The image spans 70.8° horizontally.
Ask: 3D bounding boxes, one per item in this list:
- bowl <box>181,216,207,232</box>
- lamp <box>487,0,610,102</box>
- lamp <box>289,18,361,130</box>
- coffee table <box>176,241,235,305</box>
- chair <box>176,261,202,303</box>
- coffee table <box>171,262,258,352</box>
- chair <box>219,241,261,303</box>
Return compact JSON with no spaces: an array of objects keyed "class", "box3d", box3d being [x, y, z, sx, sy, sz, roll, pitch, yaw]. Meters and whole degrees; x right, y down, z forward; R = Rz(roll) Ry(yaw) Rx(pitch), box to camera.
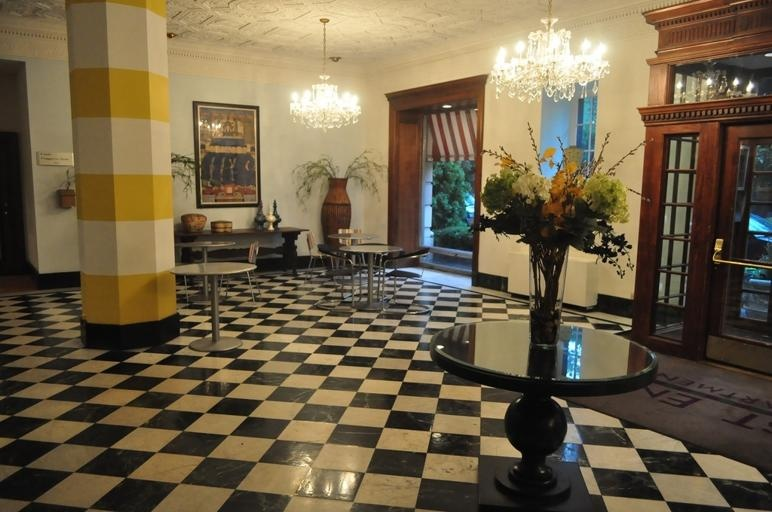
[{"class":"bowl","box3d":[-3.949,-0.684,11.028,0.378,0.266,0.377,0,-2,0]},{"class":"lamp","box3d":[2.633,-3.331,8.702,1.884,1.503,2.697,1,8,11]},{"class":"lamp","box3d":[-1.186,-3.586,10.276,1.192,1.754,1.170,14,38,7]},{"class":"coffee table","box3d":[-3.346,0.189,9.885,1.285,1.166,1.227,-2,9,-24]},{"class":"chair","box3d":[-3.402,0.454,9.338,0.650,0.431,0.629,-3,13,-14]},{"class":"coffee table","box3d":[-2.314,0.696,7.315,1.077,1.008,1.092,5,7,35]},{"class":"chair","box3d":[-2.692,0.229,9.904,0.657,1.005,0.577,-2,9,-21]}]
